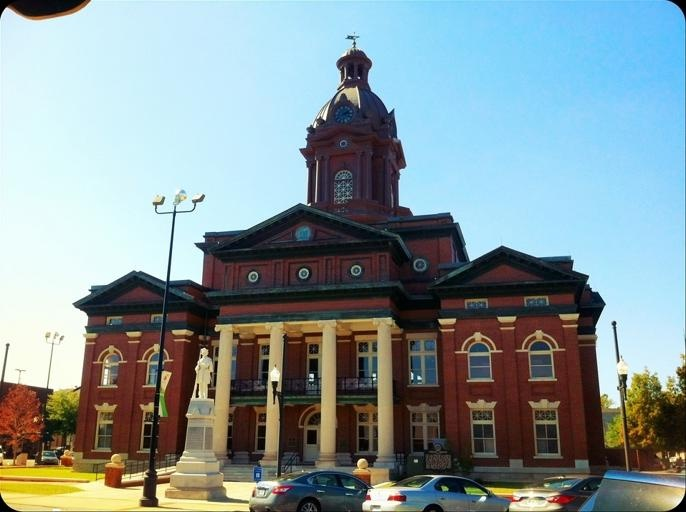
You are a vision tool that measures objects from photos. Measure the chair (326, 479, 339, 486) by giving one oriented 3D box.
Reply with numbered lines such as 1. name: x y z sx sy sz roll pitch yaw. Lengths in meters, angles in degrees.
1. chair: -0.365 7.728 19.410 0.338 0.344 0.196 1 -6 -1
